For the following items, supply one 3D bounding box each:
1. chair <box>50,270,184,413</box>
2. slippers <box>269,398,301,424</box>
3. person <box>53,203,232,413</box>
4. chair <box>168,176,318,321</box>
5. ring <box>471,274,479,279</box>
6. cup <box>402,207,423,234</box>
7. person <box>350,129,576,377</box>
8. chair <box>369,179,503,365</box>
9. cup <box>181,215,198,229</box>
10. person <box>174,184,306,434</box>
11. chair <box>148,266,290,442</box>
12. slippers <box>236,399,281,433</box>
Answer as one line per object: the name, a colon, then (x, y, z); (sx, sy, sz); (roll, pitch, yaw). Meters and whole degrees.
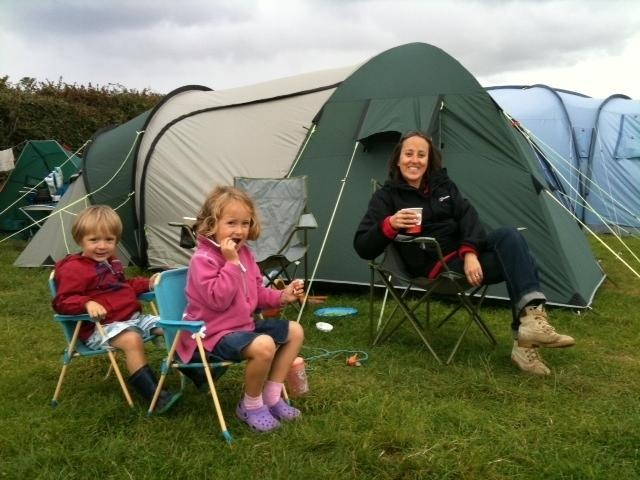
chair: (-1.279, 0.586, 3.274); (0.635, 0.844, 0.580); (-13, -7, 32)
slippers: (-0.190, 0.934, 2.926); (0.165, 0.071, 0.096); (4, 8, 26)
person: (-1.194, 0.385, 3.301); (0.876, 1.191, 0.987); (-12, 11, -39)
chair: (-0.542, 0.036, 5.046); (1.045, 1.170, 0.793); (-1, 11, 1)
ring: (1.026, 0.239, 3.508); (0.049, 0.026, 0.012); (-1, -2, -3)
cup: (0.629, -0.137, 3.661); (0.165, 0.165, 0.165); (0, -2, 0)
person: (1.012, 0.037, 3.696); (1.496, 1.724, 0.927); (0, 6, 40)
chair: (0.767, 0.137, 3.955); (0.948, 1.182, 1.078); (-5, 14, -2)
cup: (-1.280, -0.184, 5.232); (0.203, 0.104, 0.205); (5, 3, 0)
person: (-0.444, 0.378, 3.025); (0.745, 1.296, 0.658); (-1, 1, 11)
chair: (-0.677, 0.577, 2.975); (0.557, 0.743, 0.498); (5, 12, -2)
slippers: (-0.336, 0.921, 2.852); (0.196, 0.079, 0.116); (18, 20, 34)
